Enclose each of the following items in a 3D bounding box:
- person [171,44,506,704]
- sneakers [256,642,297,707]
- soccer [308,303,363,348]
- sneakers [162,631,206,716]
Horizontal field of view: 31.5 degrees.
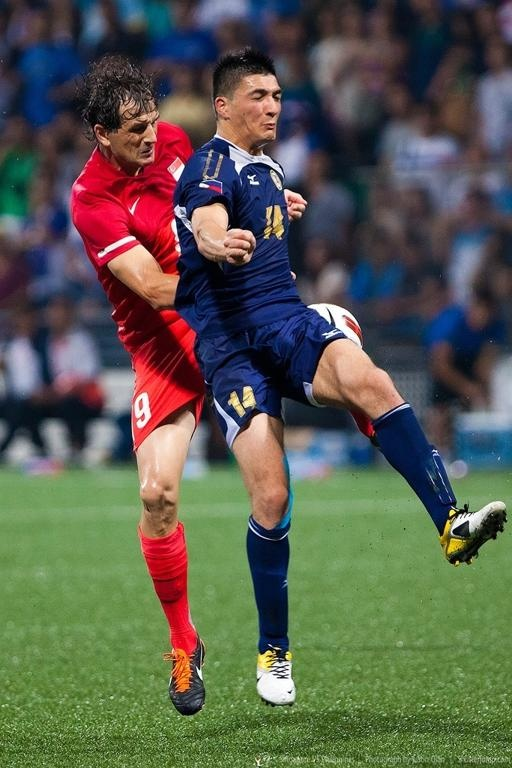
[{"bbox_3d":[0.100,-0.073,2.655,0.584,1.664,1.208,-10,26,-5],"label":"person"},{"bbox_3d":[0.055,0.814,2.525,0.075,0.080,0.188,-1,4,-8],"label":"sneakers"},{"bbox_3d":[0.255,-0.187,2.707,0.141,0.154,0.163,-11,19,-4],"label":"soccer"},{"bbox_3d":[-0.195,0.863,2.637,0.071,0.074,0.189,-12,26,4],"label":"sneakers"}]
